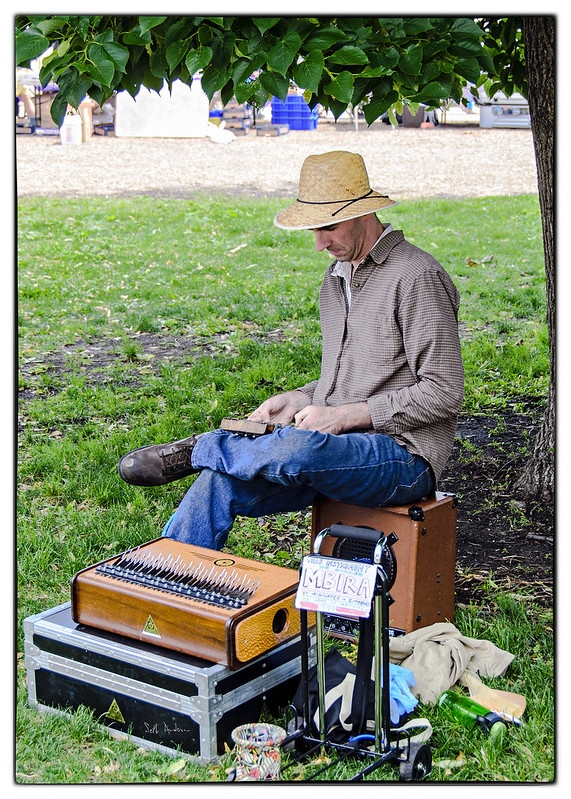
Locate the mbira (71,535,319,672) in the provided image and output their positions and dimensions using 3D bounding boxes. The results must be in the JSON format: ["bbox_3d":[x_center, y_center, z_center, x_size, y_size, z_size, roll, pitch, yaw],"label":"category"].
[{"bbox_3d":[-0.282,0.611,2.737,0.653,0.195,0.433,10,17,34],"label":"mbira"}]

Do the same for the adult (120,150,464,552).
[{"bbox_3d":[0.259,-0.205,3.885,1.698,1.725,1.182,-2,3,-11],"label":"adult"}]

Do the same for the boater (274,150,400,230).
[{"bbox_3d":[0.186,-0.820,3.417,0.465,0.212,0.463,-13,26,-13],"label":"boater"}]

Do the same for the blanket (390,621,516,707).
[{"bbox_3d":[0.543,0.861,2.889,0.278,0.087,0.226,-5,-9,-25],"label":"blanket"}]

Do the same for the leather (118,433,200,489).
[{"bbox_3d":[-0.445,0.255,3.765,0.520,0.155,0.171,-7,8,2],"label":"leather"}]

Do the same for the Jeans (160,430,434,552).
[{"bbox_3d":[0.019,0.280,3.077,0.778,0.284,0.468,-17,4,-8],"label":"Jeans"}]

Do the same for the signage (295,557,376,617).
[{"bbox_3d":[0.119,0.464,2.177,0.201,0.137,0.135,4,15,14],"label":"signage"}]

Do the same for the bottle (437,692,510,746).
[{"bbox_3d":[0.554,0.934,2.625,0.079,0.057,0.226,-10,17,-36],"label":"bottle"}]

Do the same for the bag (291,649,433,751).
[{"bbox_3d":[0.199,0.814,2.545,0.324,0.111,0.311,-12,16,-39],"label":"bag"}]

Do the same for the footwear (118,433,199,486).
[{"bbox_3d":[-0.443,0.249,3.792,0.519,0.155,0.172,-7,8,2],"label":"footwear"}]

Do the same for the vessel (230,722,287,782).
[{"bbox_3d":[-0.076,0.942,2.354,0.130,0.132,0.141,1,8,33],"label":"vessel"}]
